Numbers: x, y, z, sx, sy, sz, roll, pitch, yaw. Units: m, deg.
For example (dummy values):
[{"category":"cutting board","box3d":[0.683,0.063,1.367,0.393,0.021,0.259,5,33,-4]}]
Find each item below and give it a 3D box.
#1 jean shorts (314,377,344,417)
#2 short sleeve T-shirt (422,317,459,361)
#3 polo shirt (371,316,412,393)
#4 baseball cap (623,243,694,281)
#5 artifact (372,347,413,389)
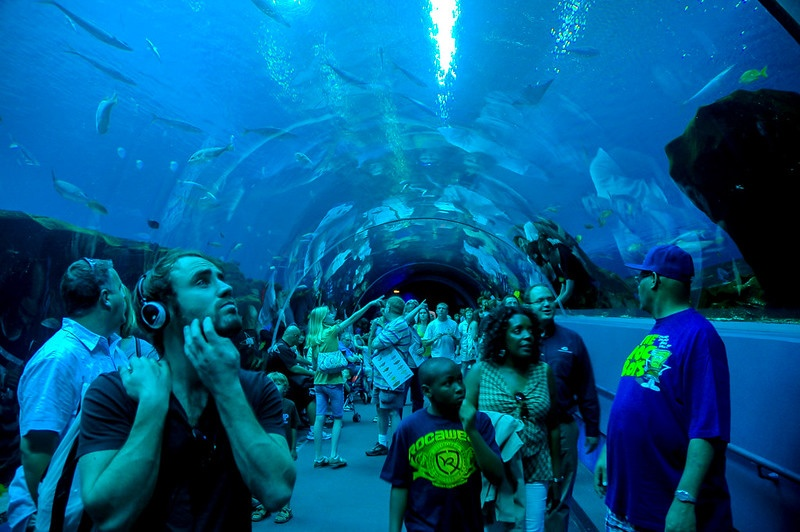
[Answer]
[{"category":"jean shorts","box3d":[-1.291,2.406,8.737,0.517,0.603,0.384,4,-15,-10]},{"category":"short sleeve T-shirt","box3d":[1.107,1.859,12.577,0.957,0.998,0.538,-3,11,-2]},{"category":"polo shirt","box3d":[-0.286,1.674,9.366,0.822,1.331,1.117,8,-12,-14]},{"category":"baseball cap","box3d":[2.359,-0.056,4.372,0.594,0.278,0.386,15,3,15]},{"category":"artifact","box3d":[-0.157,1.845,8.862,0.720,0.683,0.167,-29,-24,-21]}]
